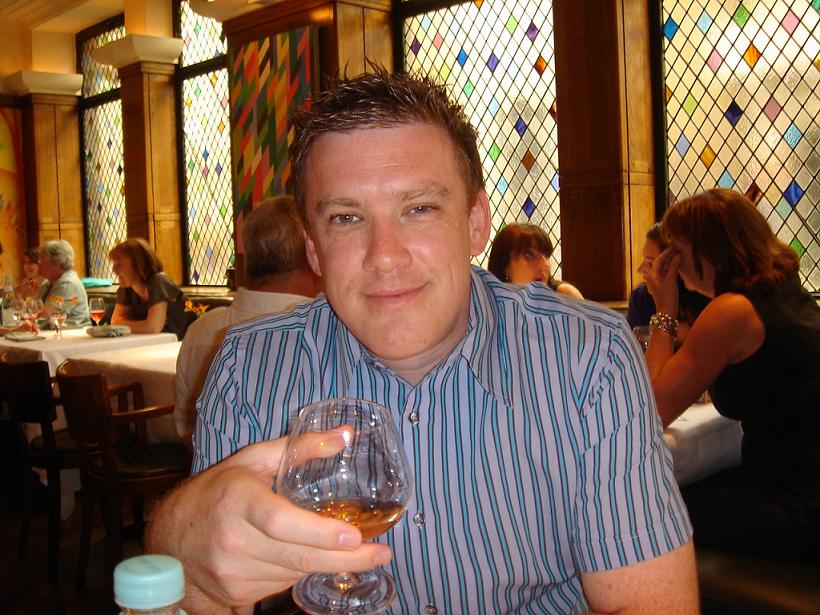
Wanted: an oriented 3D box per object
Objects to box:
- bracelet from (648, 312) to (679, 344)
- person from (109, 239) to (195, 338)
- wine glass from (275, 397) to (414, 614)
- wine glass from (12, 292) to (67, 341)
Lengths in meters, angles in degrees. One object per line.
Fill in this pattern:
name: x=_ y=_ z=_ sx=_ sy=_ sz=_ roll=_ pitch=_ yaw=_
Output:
bracelet: x=1.109 y=0.084 z=3.180 sx=0.096 sy=0.097 sz=0.131 roll=1 pitch=-7 yaw=18
person: x=-2.018 y=0.051 z=5.793 sx=0.505 sy=1.137 sz=0.562 roll=-6 pitch=0 yaw=39
wine glass: x=-0.098 y=0.363 z=1.434 sx=0.312 sy=0.525 sz=0.331 roll=1 pitch=-8 yaw=-5
wine glass: x=-2.690 y=0.059 z=5.345 sx=0.330 sy=0.264 sz=0.296 roll=1 pitch=3 yaw=1
